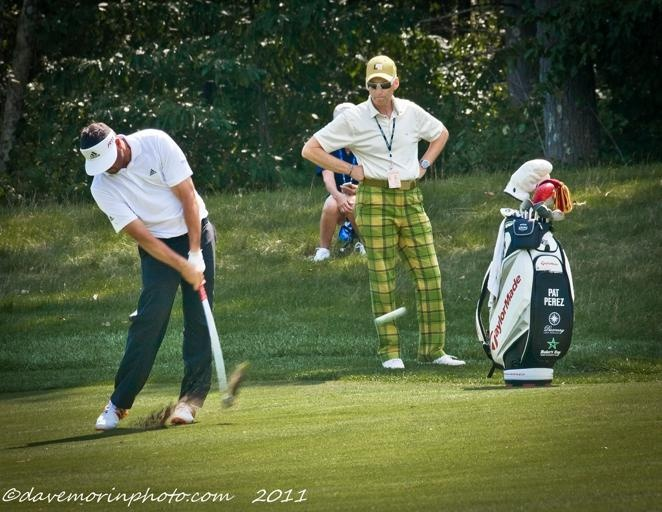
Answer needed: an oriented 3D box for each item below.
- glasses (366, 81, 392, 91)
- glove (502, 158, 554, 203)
[{"bbox_3d":[0.475,-1.603,12.599,0.235,0.085,0.096,-3,15,2],"label":"glasses"},{"bbox_3d":[1.830,-0.702,12.220,0.323,0.436,0.330,-11,8,-31],"label":"glove"}]
